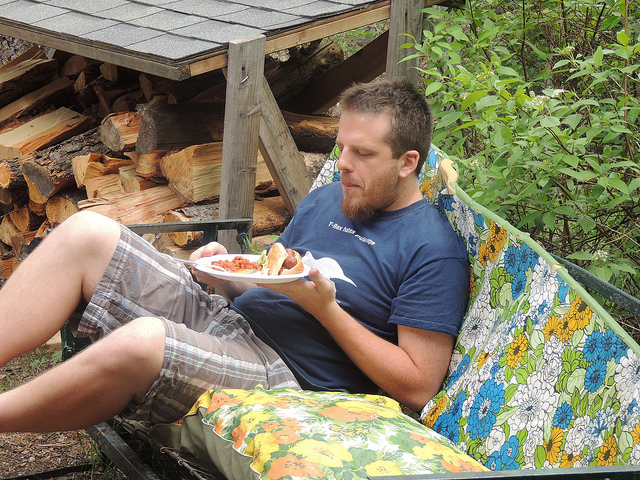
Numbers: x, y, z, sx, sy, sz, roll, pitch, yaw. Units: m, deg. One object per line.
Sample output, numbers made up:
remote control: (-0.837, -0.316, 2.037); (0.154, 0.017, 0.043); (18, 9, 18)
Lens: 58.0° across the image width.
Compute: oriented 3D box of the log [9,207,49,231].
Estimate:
log: (-2.456, -0.160, 4.909); (0.272, 0.235, 0.062); (-23, 2, 12)

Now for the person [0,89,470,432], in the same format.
person: (-0.074, 0.076, 2.560); (2.147, 1.099, 1.242); (7, 15, -31)

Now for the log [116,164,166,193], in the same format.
log: (-1.365, -0.482, 4.392); (0.274, 0.159, 0.267); (-6, 11, -44)

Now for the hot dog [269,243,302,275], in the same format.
hot dog: (-0.136, 0.079, 2.316); (0.107, 0.046, 0.131); (-28, 63, 7)

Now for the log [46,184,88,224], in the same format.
log: (-2.131, -0.315, 4.754); (0.322, 0.307, 0.366); (6, 31, -25)

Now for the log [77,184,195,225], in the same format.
log: (-1.308, -0.243, 4.152); (0.649, 0.170, 0.360); (-26, 33, -12)

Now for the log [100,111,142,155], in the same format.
log: (-1.457, -0.856, 4.426); (0.366, 0.115, 0.346); (-20, 55, -24)

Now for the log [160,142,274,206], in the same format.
log: (-0.883, -0.463, 4.108); (0.445, 0.431, 0.315); (-9, 24, -13)

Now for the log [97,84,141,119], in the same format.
log: (-1.753, -1.224, 4.936); (0.458, 0.145, 0.247); (-9, 19, 6)

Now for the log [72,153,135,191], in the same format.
log: (-1.660, -0.564, 4.485); (0.414, 0.184, 0.265); (-25, 44, -25)

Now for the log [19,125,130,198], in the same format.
log: (-2.118, -0.716, 4.874); (0.671, 0.353, 0.982); (5, 37, 15)

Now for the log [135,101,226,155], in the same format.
log: (-0.976, -0.812, 4.138); (0.668, 0.343, 0.248); (-11, 0, -28)

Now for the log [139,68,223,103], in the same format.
log: (-1.009, -1.136, 4.259); (0.469, 0.222, 0.440); (-30, 25, -18)

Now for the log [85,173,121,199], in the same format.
log: (-1.658, -0.442, 4.478); (0.288, 0.119, 0.160); (-26, 50, -27)

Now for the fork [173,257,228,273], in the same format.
fork: (-0.495, 0.106, 2.437); (0.226, 0.024, 0.037); (13, -2, 36)
